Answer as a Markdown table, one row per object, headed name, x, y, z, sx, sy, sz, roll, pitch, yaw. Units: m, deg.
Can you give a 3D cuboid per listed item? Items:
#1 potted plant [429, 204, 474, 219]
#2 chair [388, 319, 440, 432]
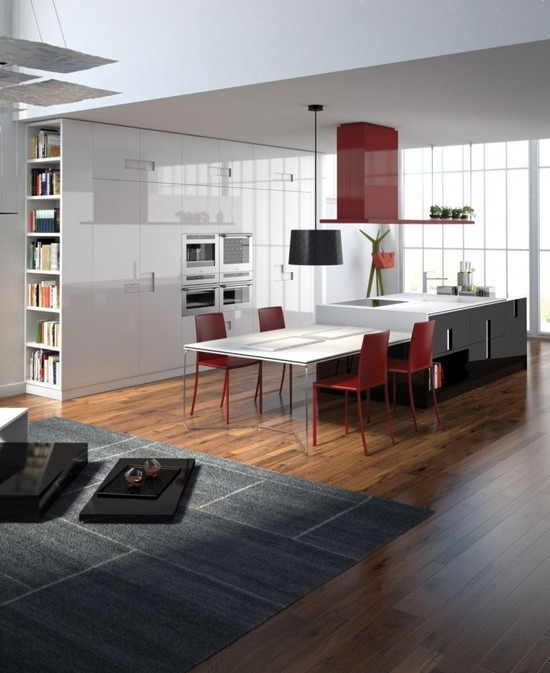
| name | x | y | z | sx | sy | sz | roll | pitch | yaw |
| --- | --- | --- | --- | --- | --- | --- | --- | --- | --- |
| potted plant | 2.070 | -1.446 | 6.540 | 0.346 | 0.097 | 0.232 | 3 | 9 | 22 |
| chair | 1.120 | 0.298 | 4.814 | 0.592 | 0.831 | 0.546 | 1 | 3 | 23 |
